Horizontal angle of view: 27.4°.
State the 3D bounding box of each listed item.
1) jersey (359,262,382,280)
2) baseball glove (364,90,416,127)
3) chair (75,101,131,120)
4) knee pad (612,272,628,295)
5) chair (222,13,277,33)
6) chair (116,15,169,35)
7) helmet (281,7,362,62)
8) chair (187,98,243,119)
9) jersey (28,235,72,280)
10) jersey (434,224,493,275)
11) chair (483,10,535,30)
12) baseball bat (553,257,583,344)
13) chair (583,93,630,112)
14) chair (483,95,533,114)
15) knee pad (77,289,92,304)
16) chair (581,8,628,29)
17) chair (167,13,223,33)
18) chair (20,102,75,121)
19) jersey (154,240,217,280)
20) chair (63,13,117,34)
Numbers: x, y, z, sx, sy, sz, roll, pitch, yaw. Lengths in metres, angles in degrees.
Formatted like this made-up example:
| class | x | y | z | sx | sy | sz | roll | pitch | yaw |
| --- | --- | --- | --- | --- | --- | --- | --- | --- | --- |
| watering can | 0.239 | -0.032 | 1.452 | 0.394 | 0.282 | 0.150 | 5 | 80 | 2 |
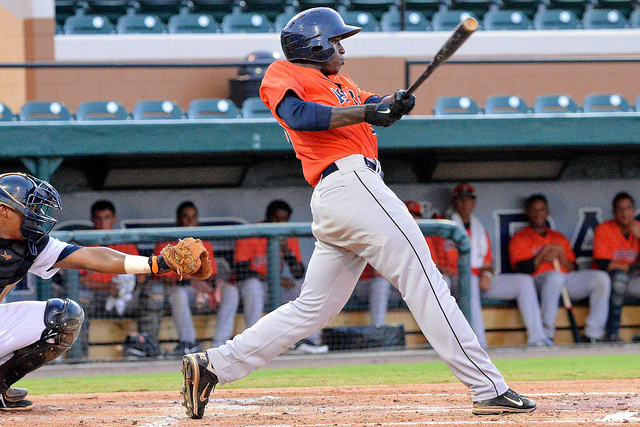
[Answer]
| class | x | y | z | sx | sy | sz | roll | pitch | yaw |
| --- | --- | --- | --- | --- | --- | --- | --- | --- | --- |
| jersey | 0.525 | 0.579 | 13.356 | 0.212 | 0.190 | 0.052 | 0 | -30 | 45 |
| baseball glove | 0.549 | -0.843 | 10.409 | 0.393 | 0.279 | 0.205 | -2 | 8 | 0 |
| chair | -2.263 | -1.096 | 13.841 | 0.563 | 0.192 | 0.296 | -2 | 7 | -8 |
| knee pad | 3.066 | 0.711 | 13.498 | 0.144 | 0.214 | 0.106 | 0 | 8 | 11 |
| chair | -0.906 | -2.498 | 17.158 | 0.700 | 0.257 | 0.225 | -2 | 8 | -5 |
| chair | -2.279 | -2.454 | 17.005 | 0.634 | 0.255 | 0.182 | -5 | 9 | -29 |
| helmet | 0.005 | -1.453 | 10.629 | 0.620 | 0.436 | 0.184 | -2 | 8 | -3 |
| chair | -1.114 | -1.141 | 14.123 | 0.582 | 0.205 | 0.322 | -2 | 7 | -4 |
| jersey | -2.201 | 0.360 | 10.726 | 0.322 | 0.342 | 0.166 | -3 | 8 | -13 |
| jersey | 1.403 | 0.419 | 13.319 | 0.376 | 0.422 | 0.670 | 4 | 9 | 37 |
| chair | 2.459 | -2.531 | 17.084 | 0.741 | 0.254 | 0.224 | -5 | 8 | -30 |
| baseball bat | 2.537 | 1.025 | 13.396 | 0.136 | 1.188 | 0.107 | -11 | -13 | 1 |
| chair | 3.075 | -1.212 | 14.171 | 0.488 | 0.198 | 0.184 | 0 | 8 | 8 |
| chair | 2.025 | -1.199 | 14.249 | 0.536 | 0.193 | 0.272 | 0 | 7 | 9 |
| knee pad | -2.302 | 0.808 | 12.992 | 0.141 | 0.111 | 0.028 | 3 | -1 | -33 |
| chair | 3.693 | -2.552 | 17.141 | 0.590 | 0.259 | 0.199 | -1 | 8 | 7 |
| chair | -1.622 | -2.478 | 17.106 | 0.541 | 0.139 | 0.306 | -1 | 13 | -9 |
| chair | -2.864 | -1.094 | 13.881 | 0.555 | 0.184 | 0.146 | -2 | 8 | -7 |
| jersey | -1.336 | 0.428 | 12.924 | 0.642 | 0.475 | 0.453 | 2 | 16 | 5 |
| chair | -2.908 | -2.415 | 16.605 | 0.205 | 0.259 | 0.876 | 3 | 8 | 30 |
